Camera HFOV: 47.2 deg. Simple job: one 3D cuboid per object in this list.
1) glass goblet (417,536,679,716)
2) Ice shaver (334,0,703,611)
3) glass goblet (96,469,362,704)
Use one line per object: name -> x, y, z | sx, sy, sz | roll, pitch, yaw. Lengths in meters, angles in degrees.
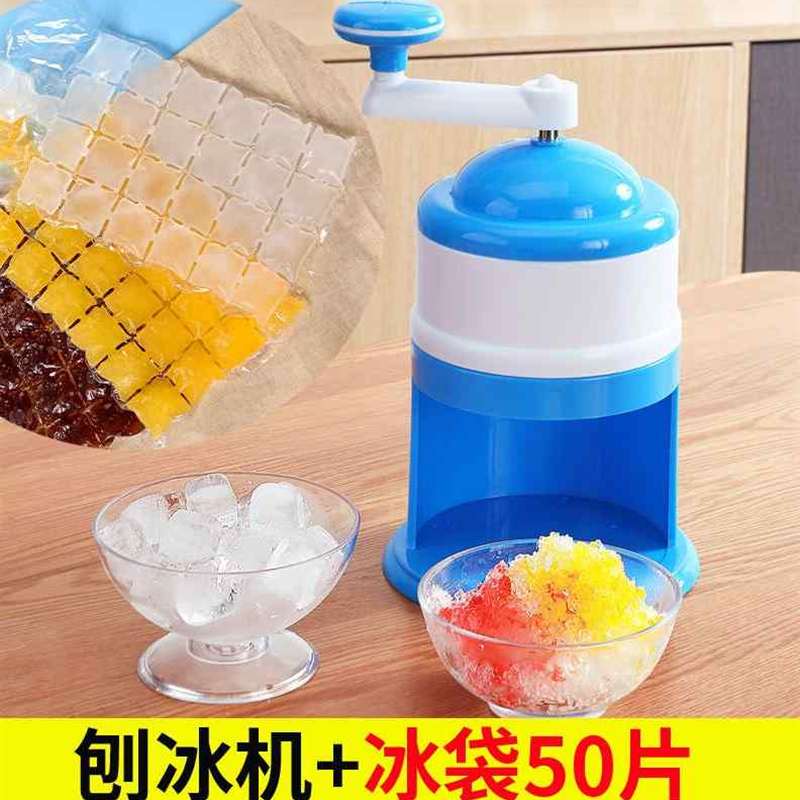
glass goblet -> 0.094, 0.149, 0.576 | 0.158, 0.082, 0.138 | -1, 18, 13
Ice shaver -> 0.087, -0.078, 0.687 | 0.240, 0.433, 0.220 | -4, 21, 9
glass goblet -> -0.106, 0.111, 0.579 | 0.185, 0.080, 0.155 | 1, 5, 2
